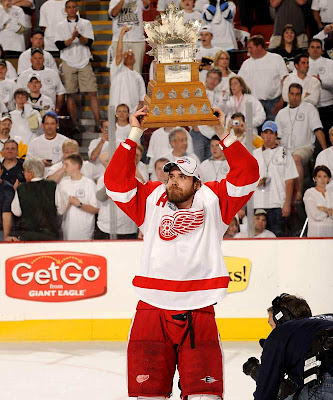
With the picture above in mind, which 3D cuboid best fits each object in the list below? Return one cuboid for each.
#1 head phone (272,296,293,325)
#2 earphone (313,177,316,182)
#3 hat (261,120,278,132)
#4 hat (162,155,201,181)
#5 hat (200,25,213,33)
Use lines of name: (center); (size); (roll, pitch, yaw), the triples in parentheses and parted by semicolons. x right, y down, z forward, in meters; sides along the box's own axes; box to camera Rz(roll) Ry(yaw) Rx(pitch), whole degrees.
head phone: (0.755, 0.708, 5.065); (0.090, 0.199, 0.211); (-3, 9, 8)
earphone: (1.522, -0.198, 7.761); (0.029, 0.041, 0.016); (5, 10, 26)
hat: (1.061, -0.748, 7.799); (0.188, 0.116, 0.067); (-7, 16, -22)
hat: (0.109, -0.199, 4.973); (0.150, 0.110, 0.216); (9, -11, 41)
hat: (0.508, -2.204, 9.675); (0.108, 0.114, 0.149); (9, -5, 39)
